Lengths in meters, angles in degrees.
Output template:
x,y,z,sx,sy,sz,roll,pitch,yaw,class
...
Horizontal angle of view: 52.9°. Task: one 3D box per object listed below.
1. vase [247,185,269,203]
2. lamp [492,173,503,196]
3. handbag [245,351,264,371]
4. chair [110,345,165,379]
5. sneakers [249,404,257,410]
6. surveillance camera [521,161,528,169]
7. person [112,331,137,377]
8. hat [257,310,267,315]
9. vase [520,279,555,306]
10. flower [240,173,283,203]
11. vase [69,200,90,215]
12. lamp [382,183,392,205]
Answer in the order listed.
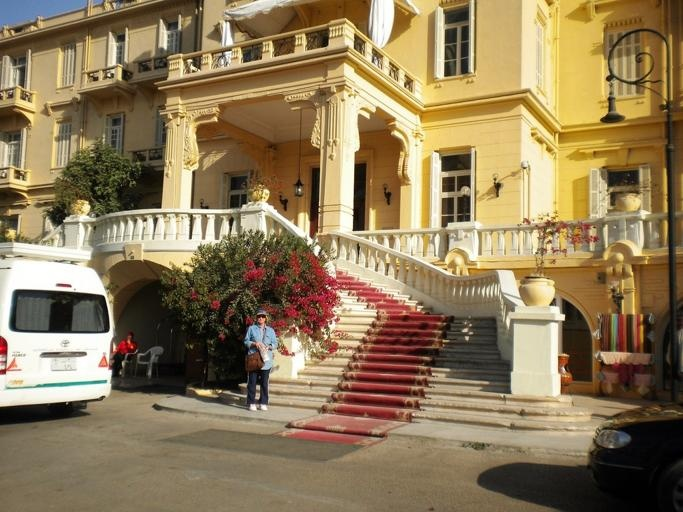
x,y,z,sx,sy,sz,roll,pitch,yaw,class
-2.316,-1.690,18.917,0.519,0.339,0.535,-1,-4,7,vase
5.057,-2.293,22.422,0.370,0.740,0.261,1,2,25,lamp
-1.788,2.169,14.155,0.384,0.391,0.178,-2,-10,9,handbag
-6.717,3.495,22.576,1.421,1.002,1.027,4,-10,-20,chair
-1.827,3.118,14.174,0.159,0.118,0.119,0,2,-17,sneakers
5.845,-2.920,22.047,0.171,0.233,0.225,-4,-10,20,surveillance camera
-7.088,3.148,22.369,0.679,1.344,1.506,0,2,-19,person
-1.675,1.173,14.319,0.171,0.144,0.247,0,2,-9,hat
4.034,0.724,14.204,0.669,0.578,0.512,1,2,12,vase
-2.631,-2.331,23.149,1.561,1.182,1.243,2,2,32,flower
-8.264,-1.538,21.706,0.505,0.517,1.014,-1,2,-24,vase
1.601,-2.164,24.157,0.205,0.760,0.324,-1,2,-25,lamp
